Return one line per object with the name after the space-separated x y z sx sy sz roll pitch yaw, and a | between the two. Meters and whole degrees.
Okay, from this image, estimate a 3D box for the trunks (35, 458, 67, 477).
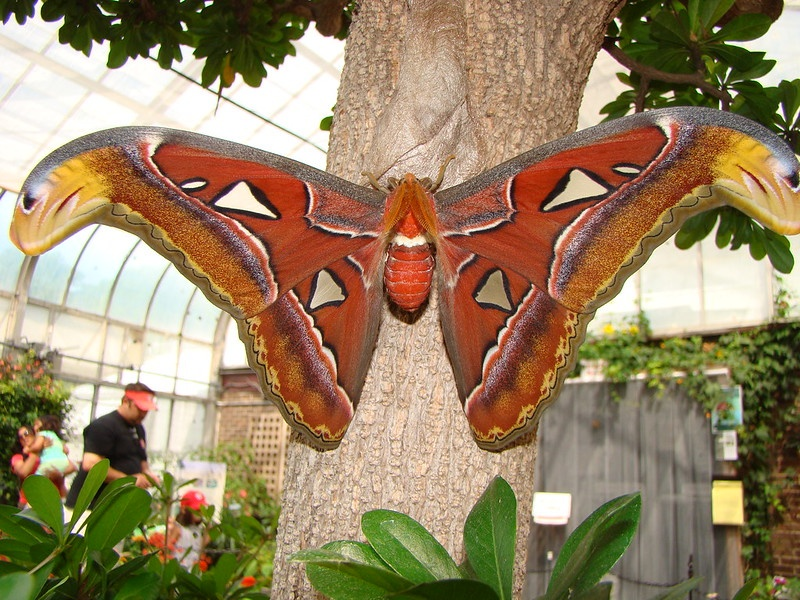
-2.474 1.185 5.473 0.203 0.108 0.318 2 -8 -24 | trunks
